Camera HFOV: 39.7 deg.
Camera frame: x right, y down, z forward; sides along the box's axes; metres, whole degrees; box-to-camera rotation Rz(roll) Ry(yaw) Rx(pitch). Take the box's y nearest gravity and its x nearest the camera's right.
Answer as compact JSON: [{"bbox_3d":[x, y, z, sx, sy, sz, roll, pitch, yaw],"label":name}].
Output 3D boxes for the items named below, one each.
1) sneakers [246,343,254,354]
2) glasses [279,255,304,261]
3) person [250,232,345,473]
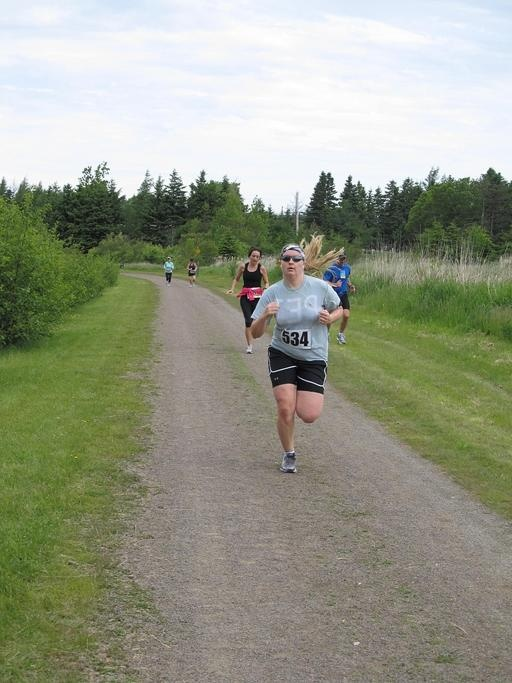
[{"bbox_3d":[-0.141,0.145,13.962,0.228,0.256,0.615,-1,0,1],"label":"sneakers"},{"bbox_3d":[0.302,-0.704,6.077,0.208,0.062,0.066,1,7,-11],"label":"glasses"},{"bbox_3d":[0.319,0.174,6.276,0.776,2.047,0.485,4,7,6],"label":"person"}]
